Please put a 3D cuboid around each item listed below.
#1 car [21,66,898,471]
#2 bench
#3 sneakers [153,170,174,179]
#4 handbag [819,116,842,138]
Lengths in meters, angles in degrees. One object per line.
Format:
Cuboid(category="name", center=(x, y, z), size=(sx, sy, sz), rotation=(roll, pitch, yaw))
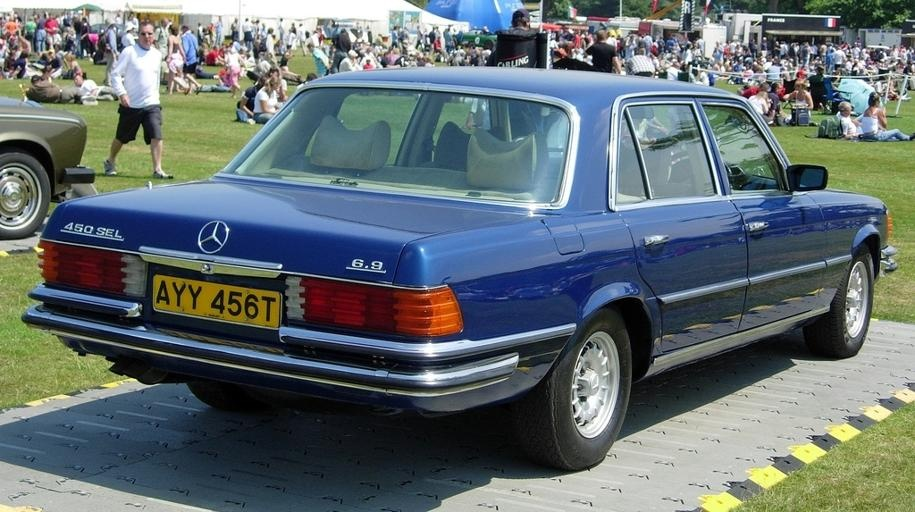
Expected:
Cuboid(category="car", center=(0.926, -0.247, 6.154), size=(3.034, 1.482, 6.228), rotation=(10, 15, 43))
Cuboid(category="bench", center=(-0.452, -0.658, 5.429), size=(2.420, 0.462, 0.399), rotation=(6, 33, 12))
Cuboid(category="sneakers", center=(-5.220, -1.421, 13.329), size=(0.474, 0.128, 0.154), rotation=(5, 13, 35))
Cuboid(category="handbag", center=(12.286, -4.157, 24.906), size=(0.750, 0.601, 0.908), rotation=(-4, 3, 45))
